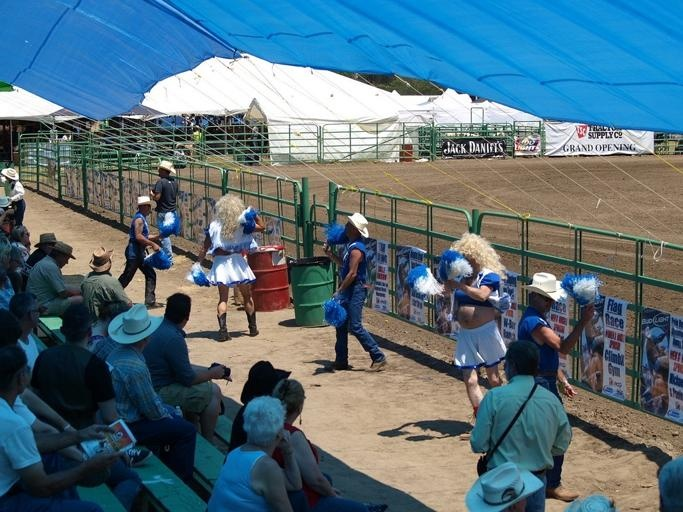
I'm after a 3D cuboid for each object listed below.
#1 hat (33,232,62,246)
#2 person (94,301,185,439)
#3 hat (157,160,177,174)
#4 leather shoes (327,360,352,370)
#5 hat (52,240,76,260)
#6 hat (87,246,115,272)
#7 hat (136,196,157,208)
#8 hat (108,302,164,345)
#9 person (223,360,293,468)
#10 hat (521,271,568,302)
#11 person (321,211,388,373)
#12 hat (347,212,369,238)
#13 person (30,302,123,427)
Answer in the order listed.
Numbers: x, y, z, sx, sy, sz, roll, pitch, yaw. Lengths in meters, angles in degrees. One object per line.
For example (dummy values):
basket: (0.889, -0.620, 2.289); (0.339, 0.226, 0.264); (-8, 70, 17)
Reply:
hat: (-3.828, -0.247, 10.342); (0.226, 0.126, 0.212); (-8, -3, 31)
person: (-1.809, 1.012, 7.346); (0.853, 1.131, 0.770); (-2, 11, -36)
hat: (-3.409, -1.724, 15.604); (0.208, 0.230, 0.571); (-1, 13, 0)
leather shoes: (-0.025, 1.511, 10.839); (0.335, 0.154, 0.127); (5, 4, -7)
hat: (-3.461, -0.054, 10.111); (0.293, 0.116, 0.244); (28, -9, -40)
hat: (-3.073, 0.091, 10.297); (0.322, 0.179, 0.468); (3, 41, 4)
hat: (-3.368, -0.944, 13.657); (0.364, 0.146, 0.431); (-4, 4, -6)
hat: (-1.798, 0.588, 7.122); (0.339, 0.158, 0.398); (19, 37, 28)
person: (-0.689, 1.178, 6.407); (0.468, 0.289, 0.700); (4, 9, 31)
hat: (1.971, 0.300, 7.538); (0.314, 0.130, 0.302); (10, -1, -35)
person: (0.164, 0.418, 11.051); (0.773, 2.181, 1.322); (-1, 12, -1)
hat: (0.229, -0.378, 10.416); (0.294, 0.333, 0.207); (-6, 13, -22)
person: (-2.214, 0.954, 6.741); (0.646, 1.108, 0.618); (9, 24, 11)
